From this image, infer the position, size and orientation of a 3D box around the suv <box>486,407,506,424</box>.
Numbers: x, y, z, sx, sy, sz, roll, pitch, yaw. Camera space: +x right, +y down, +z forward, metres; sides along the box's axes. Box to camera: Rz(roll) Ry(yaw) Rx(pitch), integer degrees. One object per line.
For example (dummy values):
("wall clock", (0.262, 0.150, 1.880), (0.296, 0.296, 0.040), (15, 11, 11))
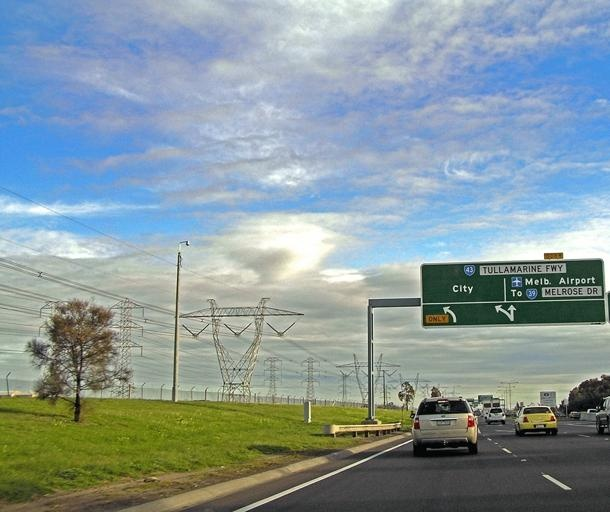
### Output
("suv", (21.178, 18.004, 77.093), (1.978, 1.160, 2.905), (0, -3, 7))

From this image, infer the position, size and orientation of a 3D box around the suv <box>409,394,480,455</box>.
("suv", (5.153, 6.333, 25.447), (2.236, 2.118, 1.064), (-1, -16, 6))

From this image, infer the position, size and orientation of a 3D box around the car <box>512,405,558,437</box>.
("car", (13.401, 9.658, 40.470), (1.774, 1.006, 2.686), (-1, -6, 9))
